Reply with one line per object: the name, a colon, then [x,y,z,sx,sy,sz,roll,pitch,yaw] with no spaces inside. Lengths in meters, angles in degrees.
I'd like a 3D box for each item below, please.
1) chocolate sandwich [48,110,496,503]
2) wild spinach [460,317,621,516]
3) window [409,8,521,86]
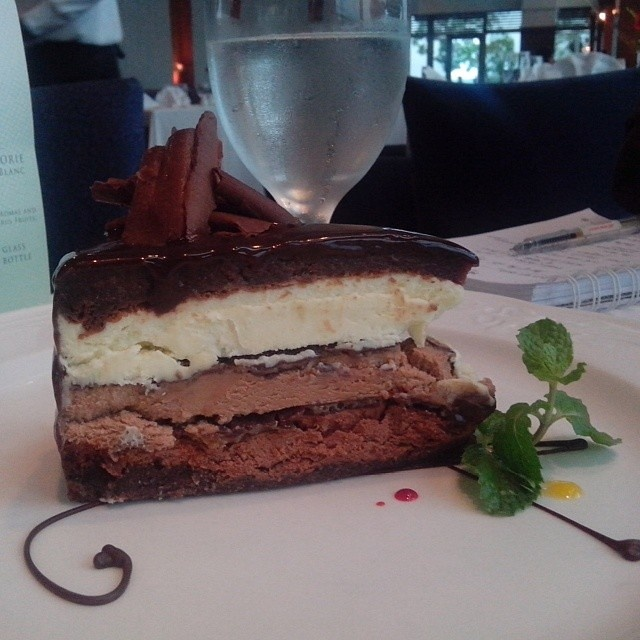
chocolate sandwich: [-0.107,-0.002,1.073,0.820,0.469,0.335,-1,8,-37]
wild spinach: [0.298,0.115,0.912,0.228,0.068,0.299,10,26,27]
window: [1.249,-2.322,5.755,1.030,0.535,0.075,-11,25,-19]
